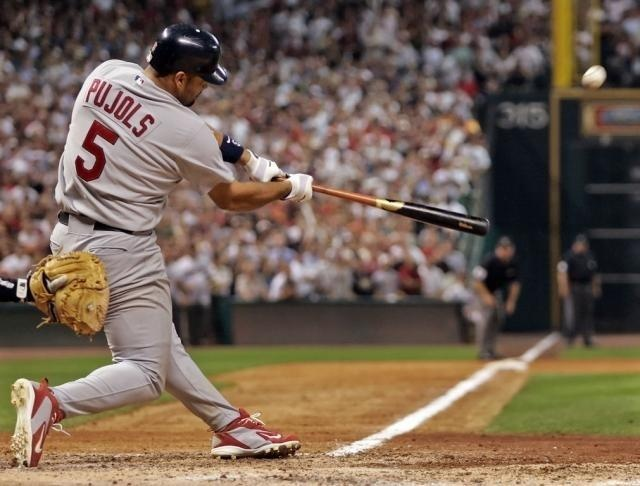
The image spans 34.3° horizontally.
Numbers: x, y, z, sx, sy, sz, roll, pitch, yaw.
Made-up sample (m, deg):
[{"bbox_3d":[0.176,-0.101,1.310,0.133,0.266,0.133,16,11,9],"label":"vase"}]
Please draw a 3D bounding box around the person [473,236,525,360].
[{"bbox_3d":[1.886,0.570,11.064,0.465,1.329,0.588,-4,-11,9],"label":"person"}]

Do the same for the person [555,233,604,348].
[{"bbox_3d":[3.042,0.578,12.251,0.430,1.321,0.477,-4,-11,12],"label":"person"}]

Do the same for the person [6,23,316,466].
[{"bbox_3d":[-0.995,0.099,6.165,1.564,2.388,0.685,1,-12,-14],"label":"person"}]

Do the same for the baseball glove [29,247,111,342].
[{"bbox_3d":[-1.449,0.252,6.049,0.493,0.512,0.219,20,12,4],"label":"baseball glove"}]

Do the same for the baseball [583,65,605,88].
[{"bbox_3d":[3.248,-2.005,12.467,0.293,0.146,0.274,-11,-26,-43],"label":"baseball"}]

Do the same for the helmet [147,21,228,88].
[{"bbox_3d":[-0.783,-1.139,6.211,0.564,0.245,0.346,6,28,-27],"label":"helmet"}]

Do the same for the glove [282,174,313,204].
[{"bbox_3d":[-0.126,-0.337,6.509,0.189,0.129,0.190,-11,7,31],"label":"glove"}]

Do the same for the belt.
[{"bbox_3d":[-1.267,-0.111,6.121,0.548,0.164,0.172,0,-10,-10],"label":"belt"}]
